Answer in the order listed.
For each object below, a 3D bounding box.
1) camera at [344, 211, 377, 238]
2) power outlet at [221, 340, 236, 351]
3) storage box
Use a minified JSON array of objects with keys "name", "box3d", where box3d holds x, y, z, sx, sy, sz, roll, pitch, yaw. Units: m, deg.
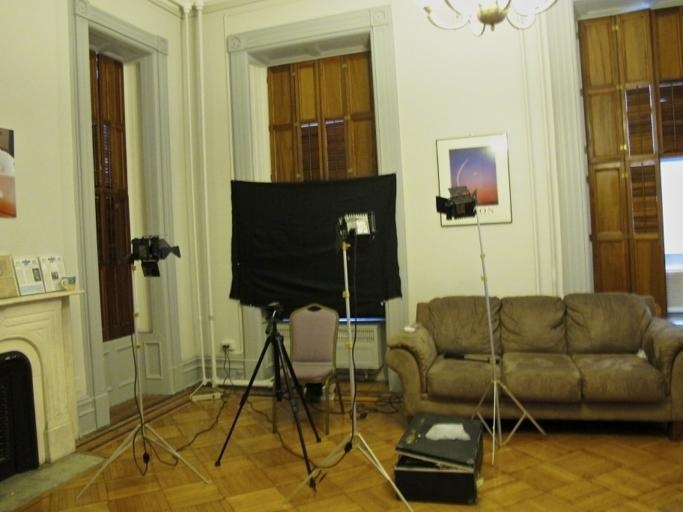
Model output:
[{"name":"camera","box3d":[0.145,-0.254,5.105,0.203,0.174,0.188,-1,-5,-2]},{"name":"power outlet","box3d":[-1.332,1.059,7.246,0.147,0.128,0.115,2,3,9]},{"name":"storage box","box3d":[0.797,1.637,5.072,0.667,0.438,0.644,0,14,12]}]
